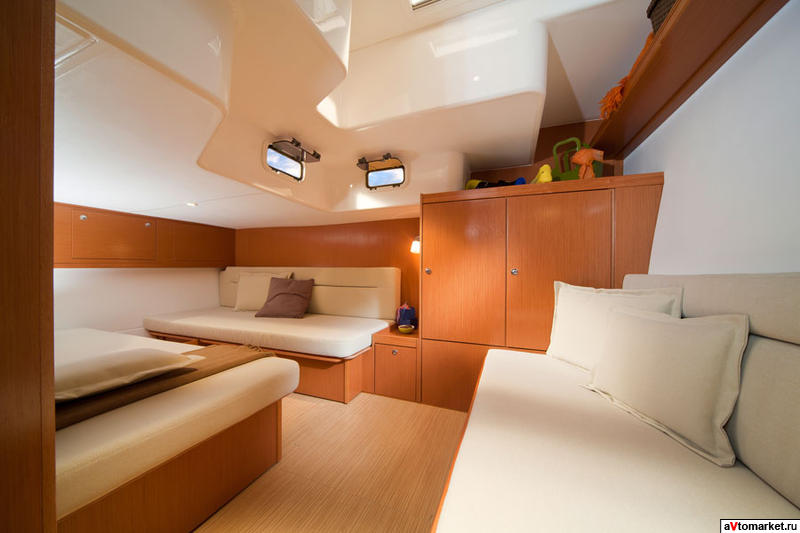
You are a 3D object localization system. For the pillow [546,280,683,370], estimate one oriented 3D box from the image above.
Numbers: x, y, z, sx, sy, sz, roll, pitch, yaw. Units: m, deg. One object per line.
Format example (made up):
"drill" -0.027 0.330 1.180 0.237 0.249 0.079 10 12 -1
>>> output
"pillow" 1.333 0.383 3.115 0.771 0.595 0.197 0 2 -1

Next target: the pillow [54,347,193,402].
"pillow" -1.566 0.577 2.787 0.287 0.106 0.431 4 4 37

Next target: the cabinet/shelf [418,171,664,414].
"cabinet/shelf" 0.978 0.179 3.410 1.675 1.995 0.733 2 -3 22

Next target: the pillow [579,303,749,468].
"pillow" 1.315 0.531 2.756 0.225 0.775 0.994 -13 21 -37

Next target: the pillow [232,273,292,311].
"pillow" -1.532 0.269 5.292 0.451 0.428 0.142 1 -21 15
